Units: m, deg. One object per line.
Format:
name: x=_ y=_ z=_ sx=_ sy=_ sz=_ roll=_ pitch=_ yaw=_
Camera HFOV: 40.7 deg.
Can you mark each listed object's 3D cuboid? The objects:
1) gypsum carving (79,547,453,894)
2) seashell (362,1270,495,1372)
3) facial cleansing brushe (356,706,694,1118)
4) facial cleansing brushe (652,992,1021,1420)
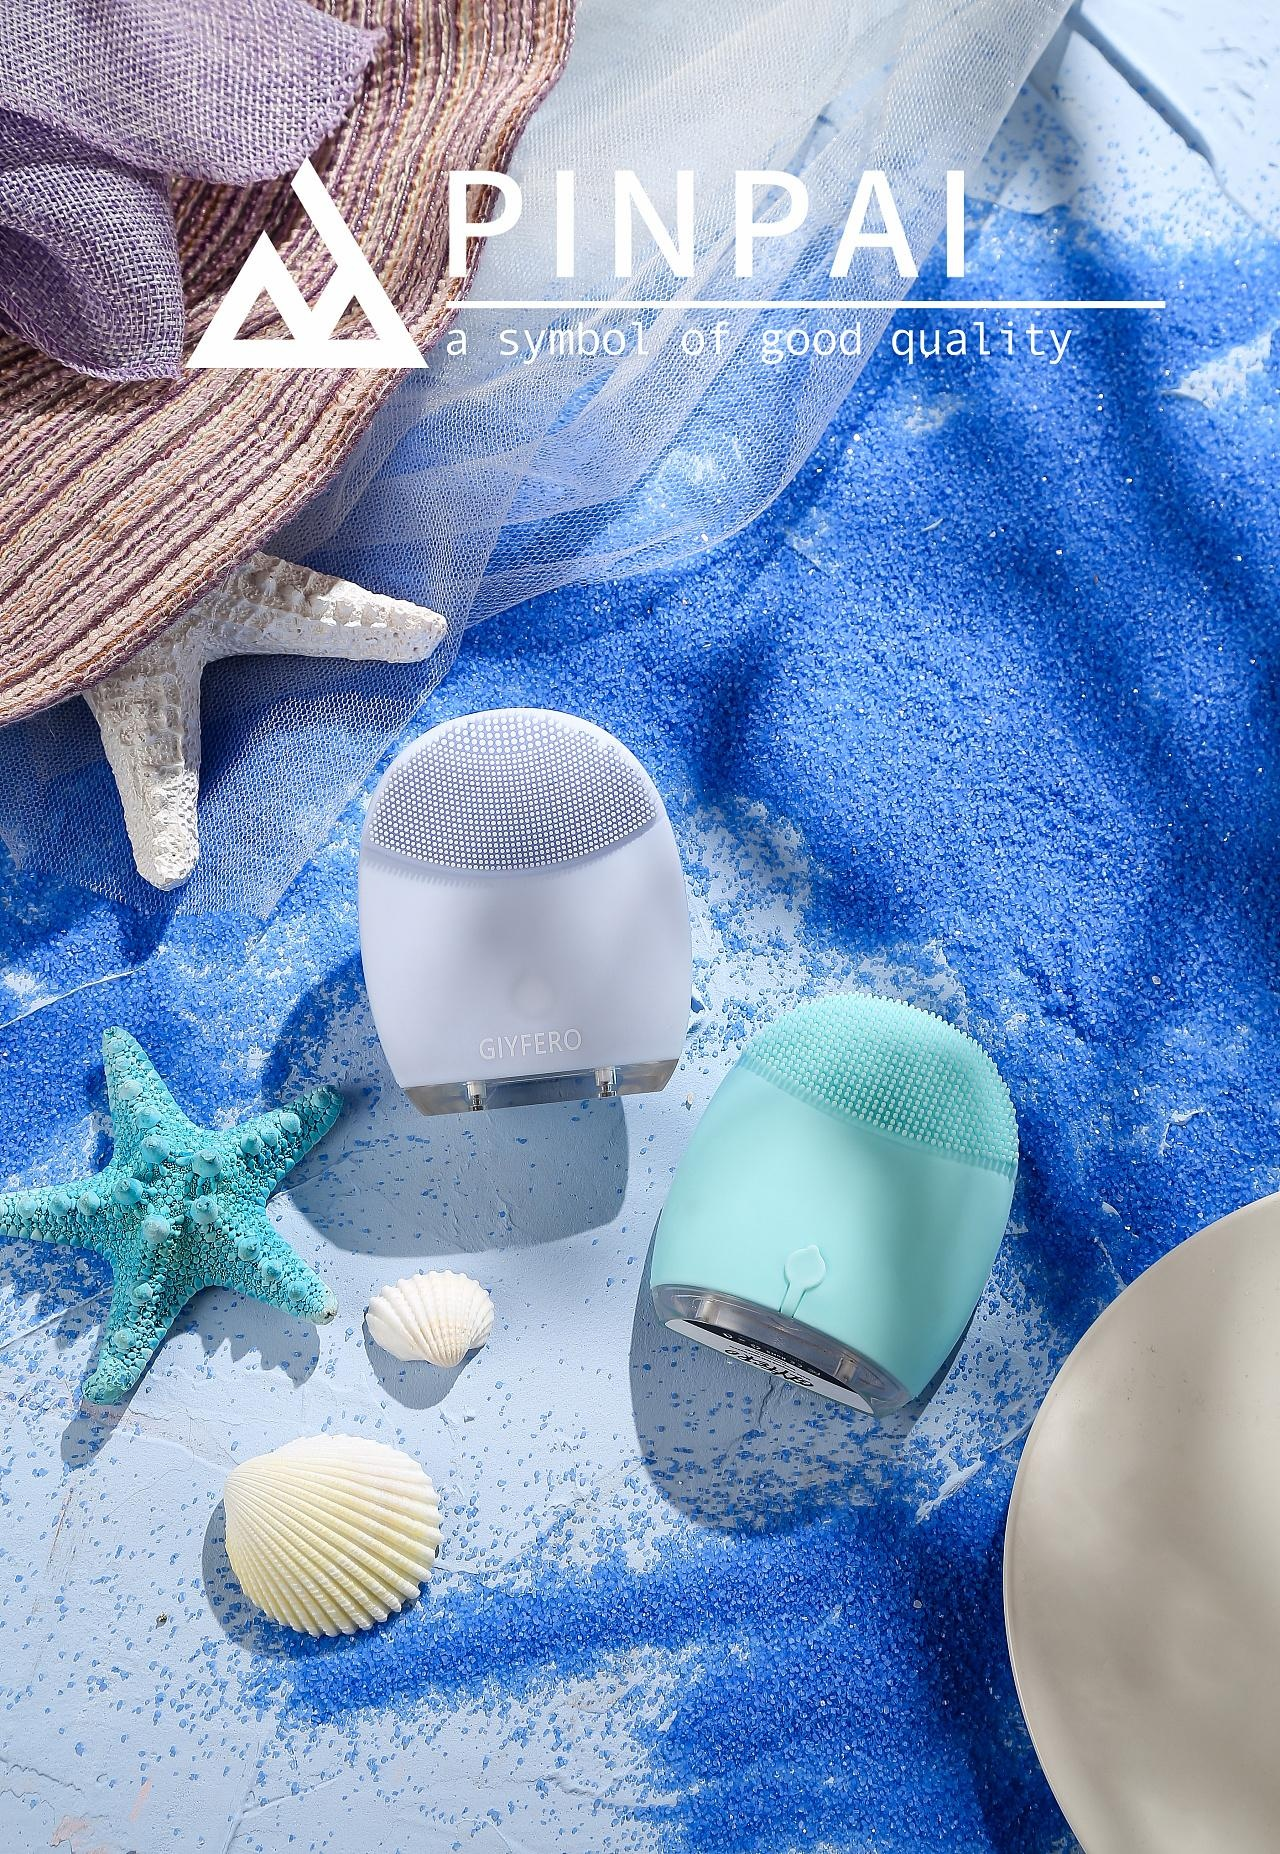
gypsum carving: x=-0.230 y=-0.130 z=1.179 sx=0.209 sy=0.229 sz=0.167 roll=1 pitch=39 yaw=11
seashell: x=-0.136 y=0.258 z=1.118 sx=0.081 sy=0.047 sz=0.050 roll=-11 pitch=42 yaw=-11
facial cleansing brushe: x=-0.073 y=0.003 z=1.069 sx=0.225 sy=0.281 sz=0.117 roll=-7 pitch=6 yaw=-1
facial cleansing brushe: x=0.121 y=0.190 z=1.140 sx=0.197 sy=0.254 sz=0.242 roll=5 pitch=52 yaw=7
